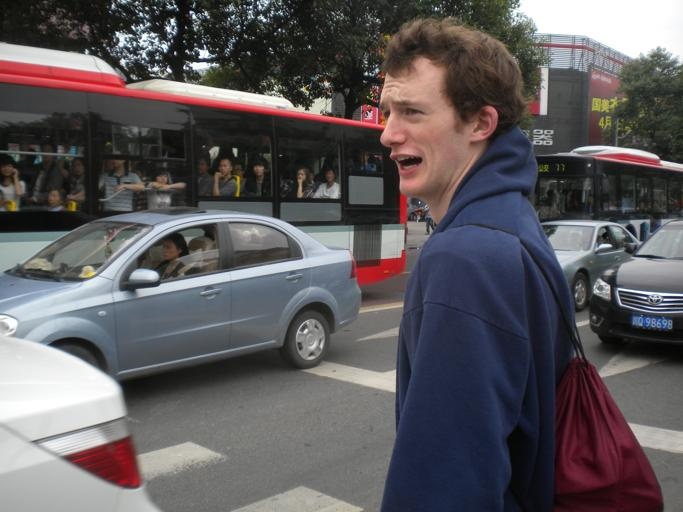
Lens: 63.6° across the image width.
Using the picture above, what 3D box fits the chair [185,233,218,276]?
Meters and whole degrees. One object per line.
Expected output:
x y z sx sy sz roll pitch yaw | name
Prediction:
-1.511 -0.016 5.982 0.301 0.387 0.389 -2 -5 13 | chair
